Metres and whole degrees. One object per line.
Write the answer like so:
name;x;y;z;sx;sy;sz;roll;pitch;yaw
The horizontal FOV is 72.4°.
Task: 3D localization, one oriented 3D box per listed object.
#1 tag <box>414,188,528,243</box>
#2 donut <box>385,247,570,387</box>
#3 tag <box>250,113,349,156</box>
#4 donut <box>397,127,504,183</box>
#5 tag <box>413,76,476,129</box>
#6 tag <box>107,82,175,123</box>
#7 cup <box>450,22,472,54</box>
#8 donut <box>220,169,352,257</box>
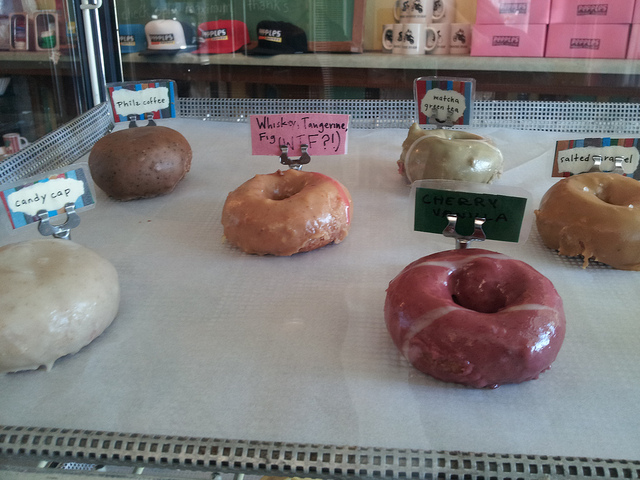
tag;0.429;-0.077;1.246;0.346;0.167;0.007;5;-9;7
donut;0.385;0.187;1.098;0.393;0.202;0.370;22;34;34
tag;-0.088;-0.445;1.817;0.432;0.176;0.040;-3;20;-13
donut;0.549;-0.343;1.811;0.350;0.195;0.304;-5;28;-12
tag;0.598;-0.652;2.083;0.272;0.241;0.147;13;31;21
tag;-0.854;-0.666;2.088;0.261;0.149;0.013;-9;32;-17
cup;0.915;-1.270;2.770;0.130;0.173;0.198;9;22;24
donut;-0.096;-0.102;1.513;0.379;0.145;0.354;-20;34;-27
